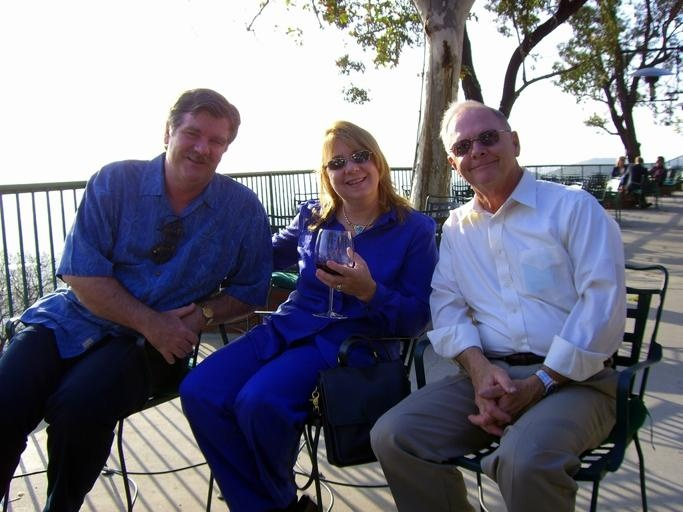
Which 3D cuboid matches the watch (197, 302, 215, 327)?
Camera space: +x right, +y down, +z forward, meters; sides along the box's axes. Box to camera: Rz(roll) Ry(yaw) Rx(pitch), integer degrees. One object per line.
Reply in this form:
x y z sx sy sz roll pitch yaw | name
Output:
-0.752 0.321 2.739 0.069 0.127 0.104 -14 5 -40 | watch

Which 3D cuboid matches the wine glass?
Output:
-0.048 0.106 2.561 0.189 0.499 0.336 -4 6 -12 | wine glass

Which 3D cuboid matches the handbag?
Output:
0.087 0.682 2.360 0.563 0.601 0.272 -1 -16 -34 | handbag

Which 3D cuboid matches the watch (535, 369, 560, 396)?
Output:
0.928 0.568 2.222 0.090 0.114 0.046 -1 7 24 | watch

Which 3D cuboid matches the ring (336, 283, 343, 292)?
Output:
-0.012 0.156 2.495 0.039 0.023 0.072 0 0 1 | ring
